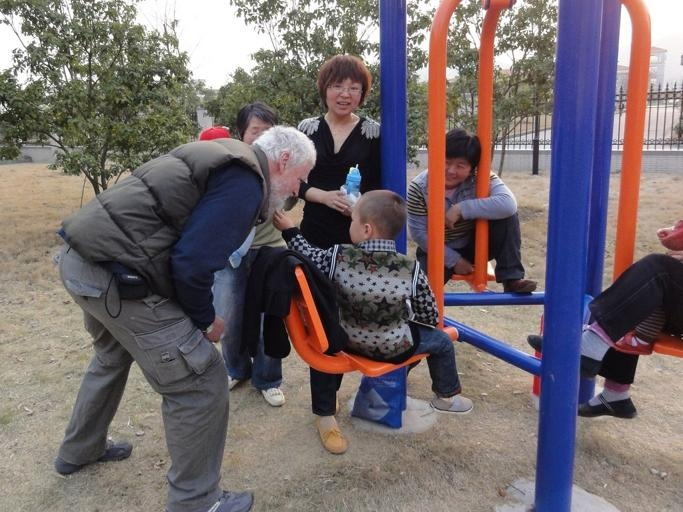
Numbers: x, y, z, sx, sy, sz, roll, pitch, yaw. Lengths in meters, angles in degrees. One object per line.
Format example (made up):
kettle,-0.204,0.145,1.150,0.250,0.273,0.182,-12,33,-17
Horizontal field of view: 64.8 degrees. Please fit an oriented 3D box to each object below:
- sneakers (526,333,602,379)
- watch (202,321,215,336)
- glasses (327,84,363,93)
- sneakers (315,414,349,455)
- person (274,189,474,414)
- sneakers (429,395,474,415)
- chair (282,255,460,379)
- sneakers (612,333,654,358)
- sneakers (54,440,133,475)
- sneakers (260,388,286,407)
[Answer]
sneakers,1.078,0.479,2.579,0.358,0.151,0.113,34,-5,1
watch,-0.611,0.337,2.465,0.054,0.031,0.042,-30,10,9
glasses,0.023,-0.983,3.156,0.189,0.085,0.058,-3,13,1
sneakers,-0.079,1.016,3.116,0.254,0.169,0.131,6,16,35
person,0.253,0.252,3.110,1.080,1.443,0.841,-6,33,-2
sneakers,0.696,0.933,3.425,0.258,0.136,0.133,-2,7,-8
chair,0.092,0.351,2.666,0.659,0.495,0.475,-9,19,-33
sneakers,1.512,0.460,2.770,0.134,0.062,0.135,-4,6,-42
sneakers,-1.360,1.116,2.971,0.295,0.118,0.172,-21,26,-40
sneakers,-0.448,0.920,3.553,0.080,0.063,0.158,-3,6,-27
